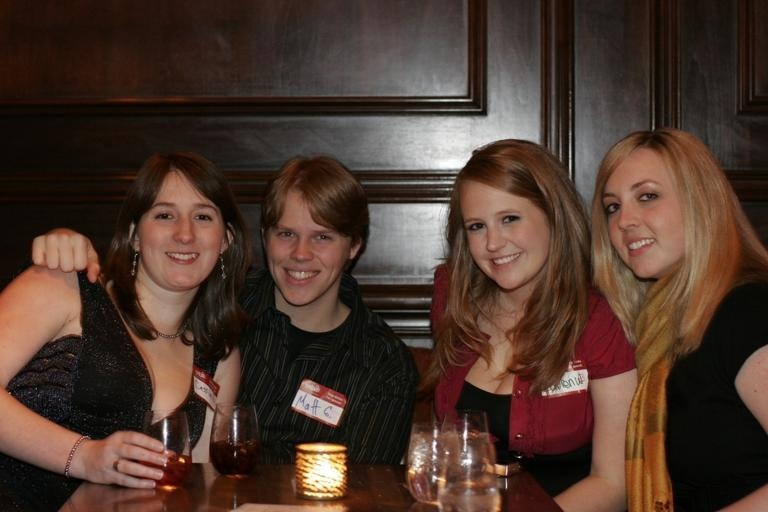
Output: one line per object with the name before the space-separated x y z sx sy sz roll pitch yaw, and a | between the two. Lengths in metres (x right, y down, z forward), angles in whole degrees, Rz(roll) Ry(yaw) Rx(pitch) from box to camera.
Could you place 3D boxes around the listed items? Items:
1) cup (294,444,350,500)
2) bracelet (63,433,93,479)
cup | -0.218 0.742 2.441 0.182 0.142 0.175 0 -4 0
bracelet | -1.181 0.750 2.671 0.039 0.136 0.124 24 -17 -29
